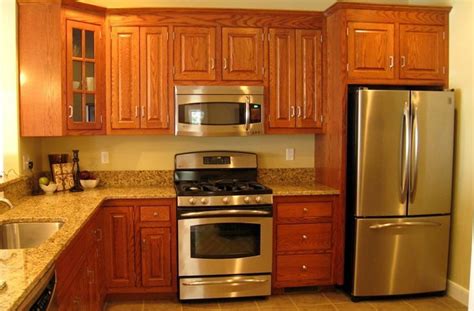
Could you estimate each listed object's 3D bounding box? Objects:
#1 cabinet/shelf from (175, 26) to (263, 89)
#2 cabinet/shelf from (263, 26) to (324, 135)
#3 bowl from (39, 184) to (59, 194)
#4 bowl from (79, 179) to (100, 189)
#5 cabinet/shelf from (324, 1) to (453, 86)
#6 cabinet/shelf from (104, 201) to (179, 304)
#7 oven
[{"bbox_3d":[-0.239,-1.067,4.187,0.820,0.408,0.263,0,11,-3],"label":"cabinet/shelf"},{"bbox_3d":[0.627,-0.820,4.284,0.596,1.110,0.134,-1,6,3],"label":"cabinet/shelf"},{"bbox_3d":[-1.919,0.333,3.985,0.131,0.069,0.126,-1,3,0],"label":"bowl"},{"bbox_3d":[-1.606,0.304,4.244,0.137,0.057,0.136,0,2,0],"label":"bowl"},{"bbox_3d":[1.616,-1.162,4.091,1.171,0.782,0.391,0,1,-8],"label":"cabinet/shelf"},{"bbox_3d":[-0.875,0.968,4.193,0.939,1.007,0.603,-10,-14,20],"label":"cabinet/shelf"},{"bbox_3d":[-0.099,0.852,4.350,1.457,1.081,0.922,0,0,-5],"label":"oven"}]
